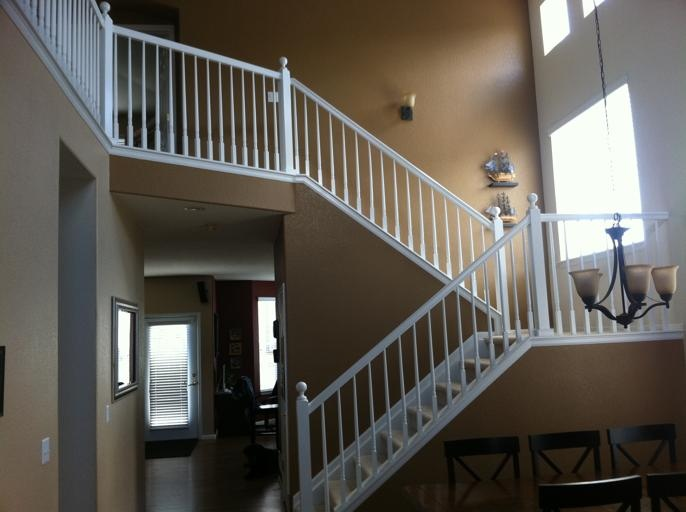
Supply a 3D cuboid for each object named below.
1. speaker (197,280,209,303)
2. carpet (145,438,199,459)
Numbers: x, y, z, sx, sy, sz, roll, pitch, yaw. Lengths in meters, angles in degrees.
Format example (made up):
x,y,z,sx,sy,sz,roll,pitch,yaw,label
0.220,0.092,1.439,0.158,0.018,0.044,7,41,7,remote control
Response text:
x,y,z,sx,sy,sz,roll,pitch,yaw,label
-2.461,0.634,10.826,0.172,0.387,0.235,-2,-6,-13,speaker
-2.775,3.127,10.055,0.859,0.077,1.461,-2,-6,-18,carpet
